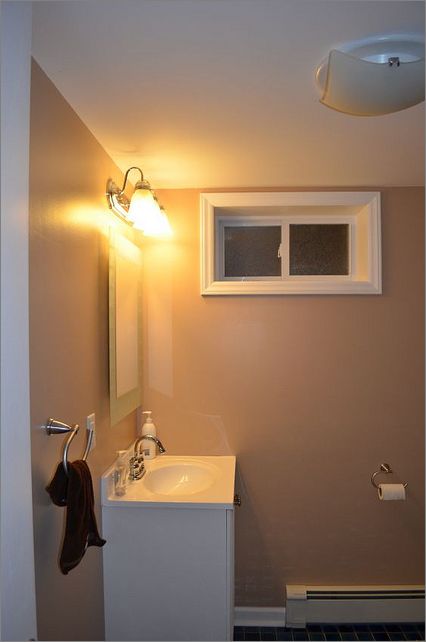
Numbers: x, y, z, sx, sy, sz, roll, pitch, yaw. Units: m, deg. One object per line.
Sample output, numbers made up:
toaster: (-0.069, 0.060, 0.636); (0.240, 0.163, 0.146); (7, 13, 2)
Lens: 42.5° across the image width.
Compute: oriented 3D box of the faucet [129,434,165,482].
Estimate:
faucet: (-0.274, 0.563, 2.263); (0.118, 0.169, 0.231); (-1, -3, 1)

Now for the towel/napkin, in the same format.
towel/napkin: (-0.380, 0.503, 1.499); (0.118, 0.296, 0.251); (3, 2, 16)
